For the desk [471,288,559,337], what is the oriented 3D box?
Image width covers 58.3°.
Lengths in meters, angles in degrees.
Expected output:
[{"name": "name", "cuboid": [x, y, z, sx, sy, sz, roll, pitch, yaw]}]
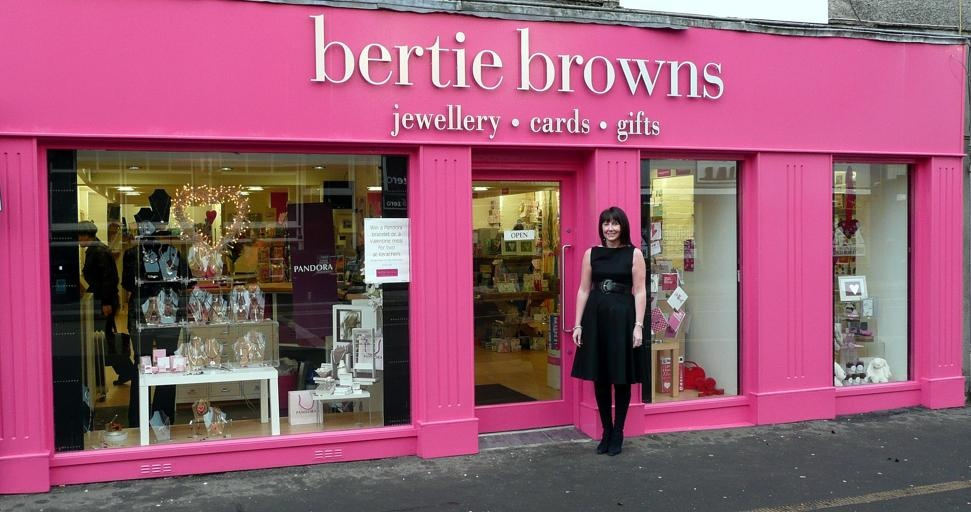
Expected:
[{"name": "desk", "cuboid": [0.466, 0.864, 12.611, 1.212, 0.690, 0.624, -2, 0, -3]}]

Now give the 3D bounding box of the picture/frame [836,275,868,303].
[{"name": "picture/frame", "cuboid": [5.514, 0.494, 13.144, 0.467, 0.346, 0.036, -2, 1, -22]}]

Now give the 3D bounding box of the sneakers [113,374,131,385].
[{"name": "sneakers", "cuboid": [-4.693, 1.613, 11.304, 0.174, 0.156, 0.103, 3, 2, -29]}]

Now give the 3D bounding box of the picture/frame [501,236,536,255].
[{"name": "picture/frame", "cuboid": [0.494, -0.109, 12.361, 0.490, 0.236, 0.024, -6, 3, -11]}]

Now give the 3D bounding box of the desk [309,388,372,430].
[{"name": "desk", "cuboid": [-2.043, 2.051, 12.296, 0.996, 0.552, 1.259, -8, -5, -13]}]

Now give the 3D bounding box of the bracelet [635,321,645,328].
[{"name": "bracelet", "cuboid": [2.038, 0.905, 11.470, 0.088, 0.075, 0.086, -1, -4, 30]}]

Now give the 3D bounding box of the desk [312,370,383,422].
[{"name": "desk", "cuboid": [-1.961, 1.732, 12.011, 0.877, 0.473, 0.633, 4, 6, -15]}]

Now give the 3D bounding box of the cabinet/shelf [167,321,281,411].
[{"name": "cabinet/shelf", "cuboid": [-3.760, 1.542, 11.604, 0.540, 1.303, 1.575, -22, -18, 29]}]

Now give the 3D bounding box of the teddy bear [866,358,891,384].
[{"name": "teddy bear", "cuboid": [5.931, 1.733, 13.346, 0.463, 0.419, 0.331, 1, -8, 4]}]

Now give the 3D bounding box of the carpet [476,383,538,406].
[{"name": "carpet", "cuboid": [0.279, 1.917, 12.244, 0.827, 0.310, 0.095, -6, 4, -13]}]
